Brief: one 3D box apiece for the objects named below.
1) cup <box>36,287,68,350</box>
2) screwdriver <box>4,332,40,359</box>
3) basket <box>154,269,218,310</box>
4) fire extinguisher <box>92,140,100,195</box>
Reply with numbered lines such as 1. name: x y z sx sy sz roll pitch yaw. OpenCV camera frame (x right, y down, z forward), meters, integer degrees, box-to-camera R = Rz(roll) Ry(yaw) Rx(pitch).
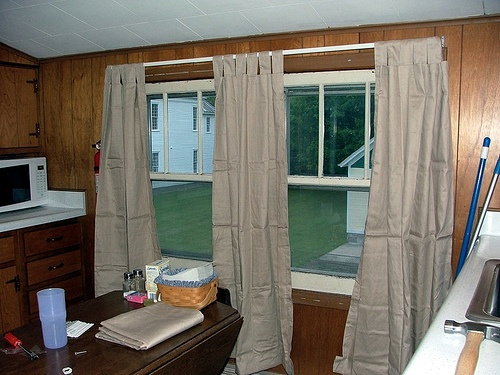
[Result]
1. cup: -0.845 0.555 1.617 0.105 0.294 0.117 -2 12 -34
2. screwdriver: -0.990 0.682 1.633 0.264 0.044 0.039 4 9 34
3. basket: -0.335 0.538 2.126 0.283 0.159 0.313 1 3 23
4. fire extinguisher: -1.328 -0.164 3.291 0.067 0.499 0.359 -4 8 -22
